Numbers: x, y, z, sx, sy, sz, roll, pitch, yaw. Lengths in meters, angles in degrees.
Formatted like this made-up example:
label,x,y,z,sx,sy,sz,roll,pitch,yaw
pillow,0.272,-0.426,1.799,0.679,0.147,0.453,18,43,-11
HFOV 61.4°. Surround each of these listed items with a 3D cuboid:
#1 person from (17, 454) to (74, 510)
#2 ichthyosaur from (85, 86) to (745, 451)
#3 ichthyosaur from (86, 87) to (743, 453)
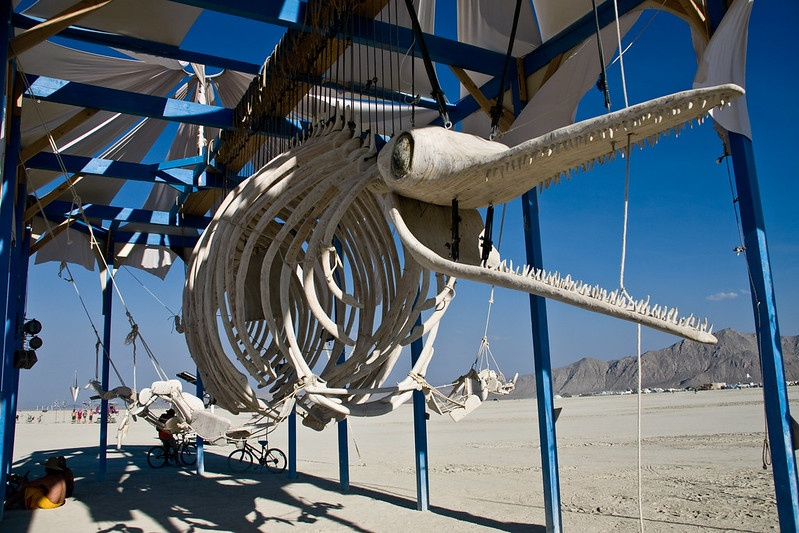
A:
label,x,y,z,sx,sy,sz,roll,pitch,yaw
person,-7.616,4.758,14.527,0.696,0.842,1.234,21,-21,-35
ichthyosaur,0.206,-0.247,9.748,6.505,4.395,5.778,-14,-12,36
ichthyosaur,0.212,-0.127,9.872,6.669,4.455,5.645,-14,-12,36
